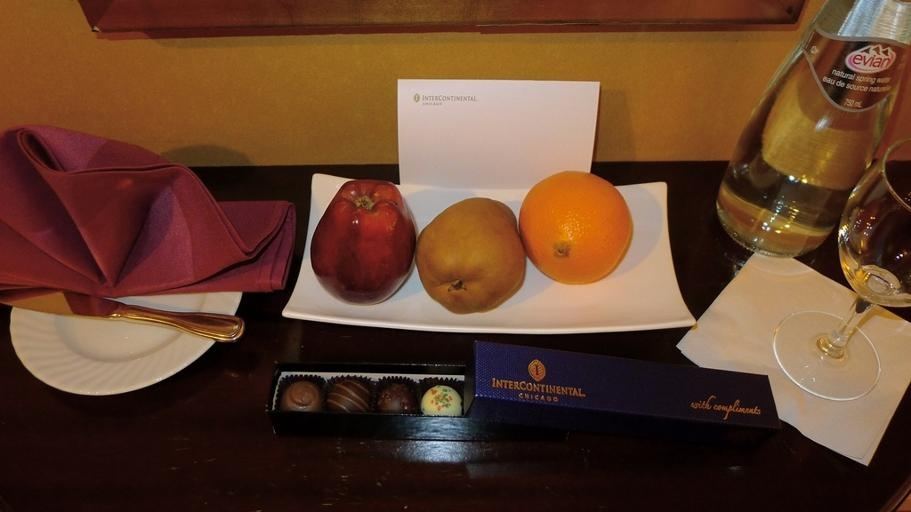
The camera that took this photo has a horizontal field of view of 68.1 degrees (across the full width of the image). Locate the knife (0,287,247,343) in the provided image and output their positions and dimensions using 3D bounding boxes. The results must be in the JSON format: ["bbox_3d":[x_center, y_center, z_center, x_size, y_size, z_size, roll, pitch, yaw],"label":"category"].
[{"bbox_3d":[-0.489,0.087,0.978,0.351,0.018,0.058,8,68,-2],"label":"knife"}]

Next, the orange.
[{"bbox_3d":[0.184,-0.044,1.046,0.196,0.182,0.190,-2,78,-12],"label":"orange"}]

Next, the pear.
[{"bbox_3d":[0.018,-0.007,1.027,0.167,0.161,0.185,-12,36,10],"label":"pear"}]
